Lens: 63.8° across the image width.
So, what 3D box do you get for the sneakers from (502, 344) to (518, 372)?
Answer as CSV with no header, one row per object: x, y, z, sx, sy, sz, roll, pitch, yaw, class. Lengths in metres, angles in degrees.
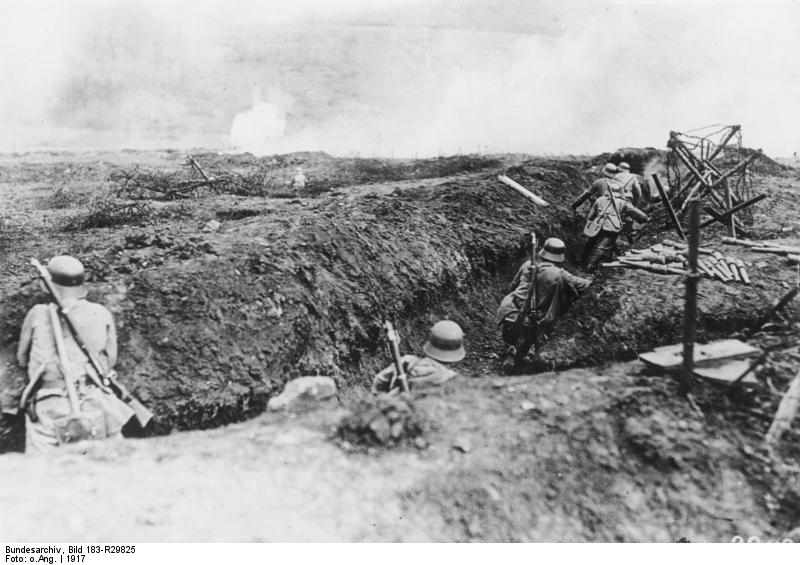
1.326,0.926,7.796,0.173,0.304,0.072,14,-26,2,sneakers

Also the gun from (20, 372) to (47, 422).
-3.820,1.172,6.695,0.243,0.501,0.145,-3,19,-32,gun

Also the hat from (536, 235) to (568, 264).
1.920,-0.400,8.167,0.251,0.232,0.394,11,6,2,hat

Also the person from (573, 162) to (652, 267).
2.798,-0.829,8.696,0.906,1.474,0.513,7,-18,28,person

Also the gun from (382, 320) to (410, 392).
-0.038,0.858,7.325,0.168,0.121,1.008,-11,51,-1,gun

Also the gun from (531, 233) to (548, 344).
1.754,0.170,7.923,0.235,1.113,0.321,3,-15,1,gun

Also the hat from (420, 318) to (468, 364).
0.524,0.684,7.385,0.428,0.302,0.485,16,34,10,hat

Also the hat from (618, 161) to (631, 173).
3.092,-1.582,8.875,0.132,0.145,0.036,-2,11,3,hat
